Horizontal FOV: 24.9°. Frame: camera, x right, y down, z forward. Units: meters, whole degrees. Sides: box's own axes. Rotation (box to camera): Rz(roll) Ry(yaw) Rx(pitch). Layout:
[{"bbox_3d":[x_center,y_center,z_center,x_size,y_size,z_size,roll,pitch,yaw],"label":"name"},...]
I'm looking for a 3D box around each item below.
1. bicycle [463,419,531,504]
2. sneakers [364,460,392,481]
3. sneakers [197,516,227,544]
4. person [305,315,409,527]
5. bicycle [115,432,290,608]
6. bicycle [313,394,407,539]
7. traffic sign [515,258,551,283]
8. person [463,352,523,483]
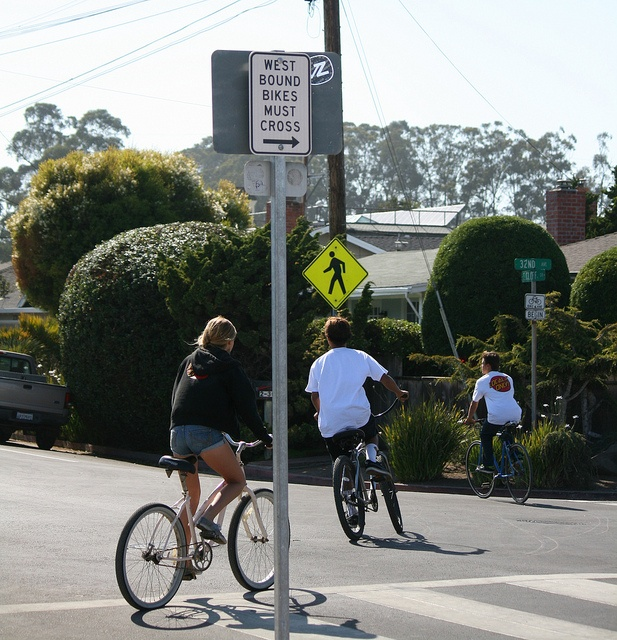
[{"bbox_3d":[2.446,1.803,17.459,0.489,0.775,1.098,-1,1,-16],"label":"bicycle"},{"bbox_3d":[0.674,1.475,13.634,0.114,0.167,0.340,-11,-21,35],"label":"sneakers"},{"bbox_3d":[-0.784,1.669,11.110,0.258,0.236,0.165,0,-3,-23],"label":"sneakers"},{"bbox_3d":[0.481,1.037,13.769,0.891,2.037,0.850,3,-23,-24],"label":"person"},{"bbox_3d":[-1.021,1.681,11.416,0.760,1.263,1.722,2,3,36],"label":"bicycle"},{"bbox_3d":[0.476,1.566,13.866,0.565,0.916,1.288,-8,-2,16],"label":"bicycle"},{"bbox_3d":[3.021,-0.655,18.780,0.434,0.314,0.584,-2,-4,17],"label":"traffic sign"},{"bbox_3d":[2.224,1.216,17.034,0.584,1.655,0.677,-3,-3,43],"label":"person"}]
